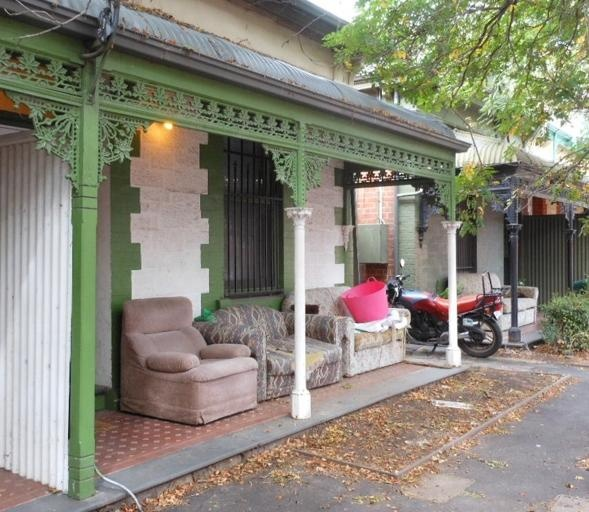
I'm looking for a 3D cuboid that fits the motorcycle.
[{"bbox_3d":[2.613,1.016,9.449,2.343,1.555,1.179,0,-2,27],"label":"motorcycle"}]

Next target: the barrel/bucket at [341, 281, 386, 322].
[{"bbox_3d":[1.128,0.723,8.802,0.695,0.486,0.618,-26,3,-36],"label":"barrel/bucket"}]
